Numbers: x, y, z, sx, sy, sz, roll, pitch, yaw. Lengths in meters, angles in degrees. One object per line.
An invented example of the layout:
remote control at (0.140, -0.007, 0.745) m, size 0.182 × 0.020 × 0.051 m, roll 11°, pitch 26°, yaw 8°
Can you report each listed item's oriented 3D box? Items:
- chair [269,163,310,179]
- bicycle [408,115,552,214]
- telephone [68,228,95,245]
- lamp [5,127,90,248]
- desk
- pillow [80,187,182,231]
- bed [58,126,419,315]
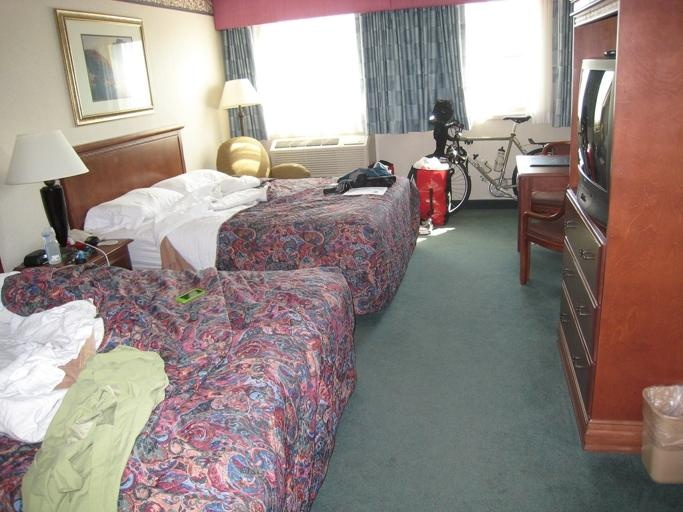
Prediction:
chair at (-0.623, -1.003, 5.607) m, size 0.288 × 0.219 × 0.282 m, roll -2°, pitch 15°, yaw -7°
bicycle at (1.853, -1.188, 5.842) m, size 1.662 × 1.038 × 0.631 m, roll 4°, pitch 19°, yaw 26°
telephone at (-1.953, -0.147, 3.547) m, size 0.119 × 0.072 × 0.165 m, roll 8°, pitch 0°, yaw 11°
lamp at (-2.040, -0.448, 3.336) m, size 0.306 × 0.815 × 0.399 m, roll 1°, pitch 21°, yaw 19°
desk at (1.701, -0.306, 3.991) m, size 0.512 × 0.704 × 1.061 m, roll 3°, pitch 20°, yaw 18°
pillow at (-1.769, -0.411, 4.012) m, size 0.353 × 0.144 × 0.561 m, roll 33°, pitch 36°, yaw 18°
bed at (-0.788, -0.531, 4.551) m, size 2.900 × 1.201 × 2.386 m, roll -1°, pitch 22°, yaw 3°
